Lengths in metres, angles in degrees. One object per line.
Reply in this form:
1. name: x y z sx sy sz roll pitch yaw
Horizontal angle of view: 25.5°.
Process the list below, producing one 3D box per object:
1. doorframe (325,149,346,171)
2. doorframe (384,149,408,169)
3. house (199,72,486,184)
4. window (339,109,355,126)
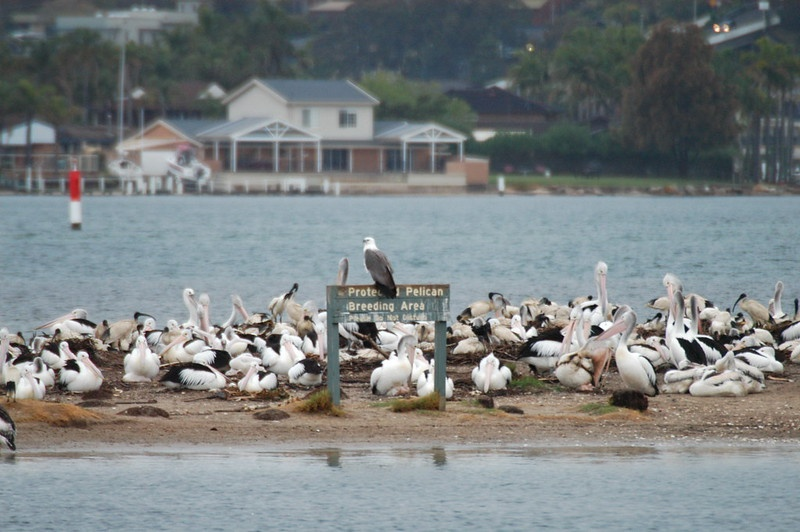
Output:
1. doorframe: -5.345 -8.681 142.815 1.912 1.443 0.124 -2 14 -18
2. doorframe: -0.447 -8.839 143.545 1.696 1.527 0.069 2 12 4
3. house: -5.768 -11.158 141.503 19.908 7.357 11.055 -1 9 -8
4. window: -4.387 -12.026 142.011 1.474 1.260 0.143 2 12 -2
